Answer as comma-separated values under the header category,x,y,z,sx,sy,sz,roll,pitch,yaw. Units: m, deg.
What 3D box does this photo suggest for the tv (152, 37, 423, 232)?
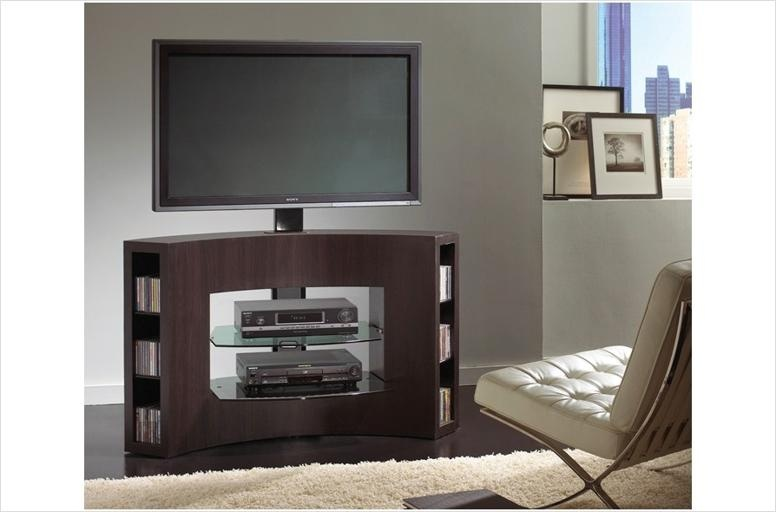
category,x,y,z,sx,sy,sz,roll,pitch,yaw
tv,-0.555,-0.701,3.682,1.298,0.882,0.171,-1,0,-10

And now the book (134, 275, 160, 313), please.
category,x,y,z,sx,sy,sz,roll,pitch,yaw
book,-1.243,0.199,3.501,0.156,0.180,0.039,3,9,23

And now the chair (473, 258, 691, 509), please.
category,x,y,z,sx,sy,sz,roll,pitch,yaw
chair,0.945,0.387,3.090,1.097,0.976,1.049,-4,5,-41

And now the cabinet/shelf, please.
category,x,y,z,sx,sy,sz,roll,pitch,yaw
cabinet/shelf,-0.497,0.455,3.734,1.783,1.067,0.577,-1,2,-24

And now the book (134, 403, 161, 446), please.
category,x,y,z,sx,sy,sz,roll,pitch,yaw
book,-1.239,0.875,3.516,0.162,0.174,0.108,0,8,4

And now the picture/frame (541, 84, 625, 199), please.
category,x,y,z,sx,sy,sz,roll,pitch,yaw
picture/frame,1.372,-0.789,4.844,0.897,0.974,0.082,-1,3,-2

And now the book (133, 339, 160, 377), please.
category,x,y,z,sx,sy,sz,roll,pitch,yaw
book,-1.249,0.531,3.512,0.141,0.183,0.039,1,8,12

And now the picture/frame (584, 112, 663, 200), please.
category,x,y,z,sx,sy,sz,roll,pitch,yaw
picture/frame,1.665,-0.703,4.840,0.689,0.748,0.035,1,-7,-19
